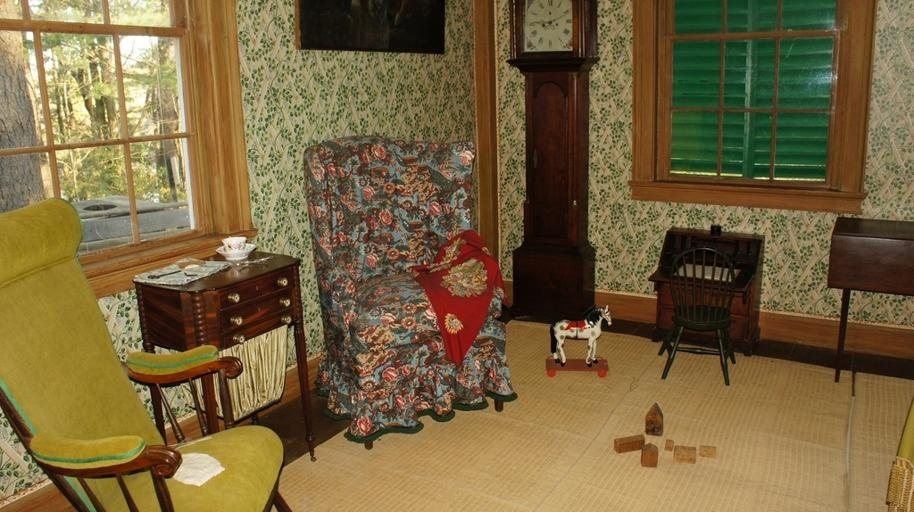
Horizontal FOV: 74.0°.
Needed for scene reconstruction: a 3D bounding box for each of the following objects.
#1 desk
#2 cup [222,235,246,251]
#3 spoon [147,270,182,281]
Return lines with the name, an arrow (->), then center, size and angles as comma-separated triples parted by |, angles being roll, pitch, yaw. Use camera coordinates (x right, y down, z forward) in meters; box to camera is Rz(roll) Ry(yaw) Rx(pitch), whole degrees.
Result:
desk -> -1.554, 0.744, 4.213 | 0.760, 1.325, 0.919 | 2, 11, 31
cup -> -1.533, -0.090, 4.223 | 0.113, 0.078, 0.114 | -1, -5, 0
spoon -> -1.883, 0.119, 3.871 | 0.251, 0.058, 0.056 | -8, 13, -28
